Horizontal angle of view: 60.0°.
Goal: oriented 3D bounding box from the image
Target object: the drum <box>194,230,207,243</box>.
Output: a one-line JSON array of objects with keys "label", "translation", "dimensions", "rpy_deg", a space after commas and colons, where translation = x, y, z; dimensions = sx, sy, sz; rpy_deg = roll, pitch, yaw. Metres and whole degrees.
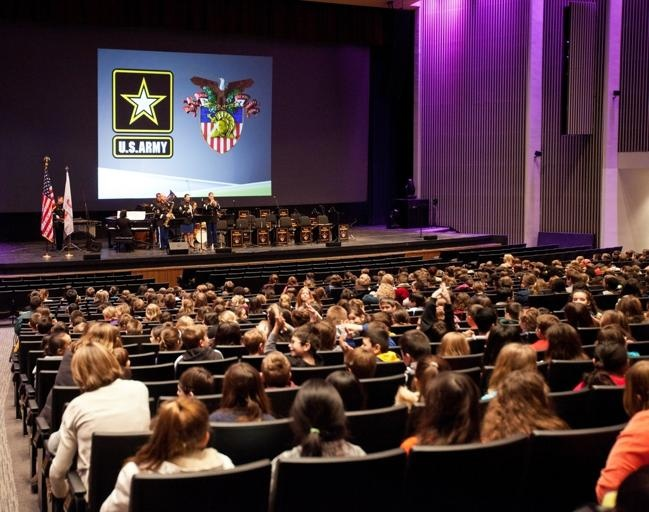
[{"label": "drum", "translation": [-4.197, -0.650, 19.180], "dimensions": [0.340, 0.309, 0.415], "rpy_deg": [-2, -4, 25]}]

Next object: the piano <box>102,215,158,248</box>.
[{"label": "piano", "translation": [-6.584, -0.940, 19.373], "dimensions": [1.659, 1.123, 1.301], "rpy_deg": [-1, 14, -33]}]

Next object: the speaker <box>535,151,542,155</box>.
[{"label": "speaker", "translation": [8.222, -3.898, 21.595], "dimensions": [0.145, 0.182, 0.289], "rpy_deg": [-3, -7, 2]}]

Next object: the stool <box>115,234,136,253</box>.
[{"label": "stool", "translation": [-6.402, -0.368, 17.934], "dimensions": [0.714, 0.558, 0.484], "rpy_deg": [-1, 6, -23]}]
